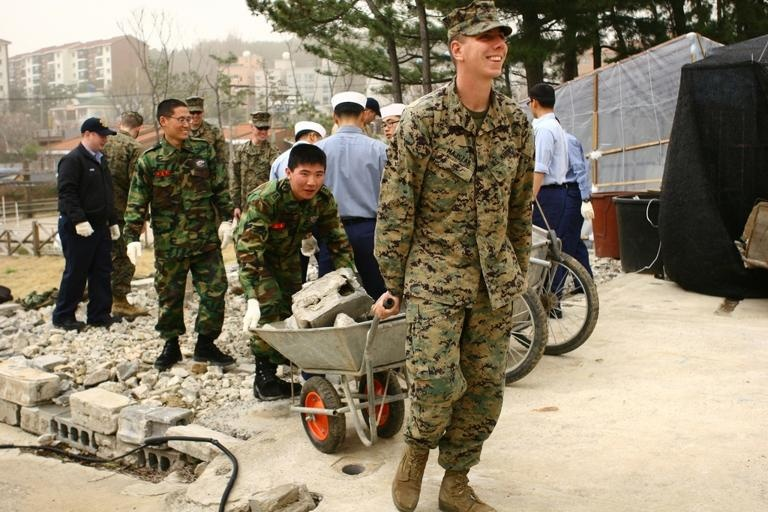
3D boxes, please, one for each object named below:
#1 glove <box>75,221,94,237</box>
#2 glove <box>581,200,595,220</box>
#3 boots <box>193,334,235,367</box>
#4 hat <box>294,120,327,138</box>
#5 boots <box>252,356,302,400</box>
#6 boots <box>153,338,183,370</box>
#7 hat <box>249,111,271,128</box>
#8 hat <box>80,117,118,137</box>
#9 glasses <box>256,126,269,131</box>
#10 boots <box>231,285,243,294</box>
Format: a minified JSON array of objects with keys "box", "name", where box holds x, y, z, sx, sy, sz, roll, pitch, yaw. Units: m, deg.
[{"box":[-3.519,-0.308,8.243,0.199,0.204,0.286,-7,9,-22],"name":"glove"},{"box":[2.261,-0.502,7.838,0.168,0.205,0.068,-6,5,-21],"name":"glove"},{"box":[-1.697,0.996,7.278,0.564,0.355,0.206,6,1,-5],"name":"boots"},{"box":[-0.918,-1.554,8.479,0.382,0.114,0.349,1,5,10],"name":"hat"},{"box":[-0.901,1.139,6.503,0.591,0.514,0.275,0,0,-6],"name":"boots"},{"box":[-2.236,0.972,7.226,0.183,0.318,0.409,2,10,14],"name":"boots"},{"box":[-1.748,-1.913,9.952,0.269,0.228,0.348,-5,9,-11],"name":"hat"},{"box":[-3.405,-1.532,8.383,0.378,0.186,0.225,-7,12,-16],"name":"hat"},{"box":[-1.732,-1.789,9.887,0.176,0.063,0.134,-6,9,-19],"name":"glasses"},{"box":[-2.094,0.490,9.961,0.133,0.132,0.142,4,13,28],"name":"boots"}]
